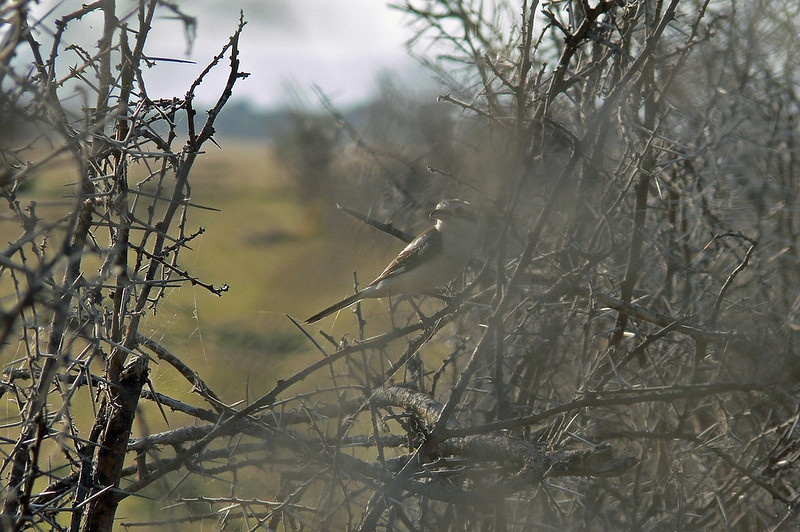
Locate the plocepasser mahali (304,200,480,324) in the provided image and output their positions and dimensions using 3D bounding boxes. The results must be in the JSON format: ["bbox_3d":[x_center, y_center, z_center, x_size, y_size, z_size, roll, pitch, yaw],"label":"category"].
[{"bbox_3d":[-0.006,-0.056,9.099,1.464,0.369,0.680,-22,-89,11],"label":"plocepasser mahali"}]
